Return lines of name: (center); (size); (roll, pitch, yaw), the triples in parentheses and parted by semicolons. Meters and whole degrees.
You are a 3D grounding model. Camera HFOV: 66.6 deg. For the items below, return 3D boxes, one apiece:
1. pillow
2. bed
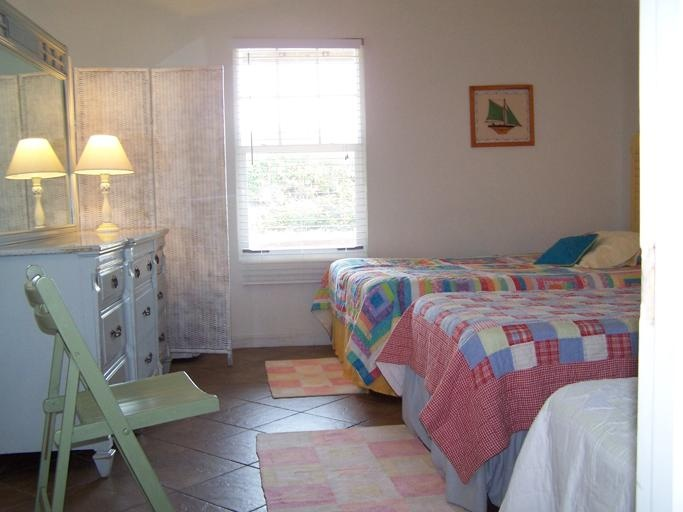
pillow: (1.723, -0.037, 3.594); (0.386, 0.115, 0.389); (-29, 8, -27)
bed: (0.533, 0.363, 2.475); (1.200, 0.296, 1.198); (-2, 5, -19)
